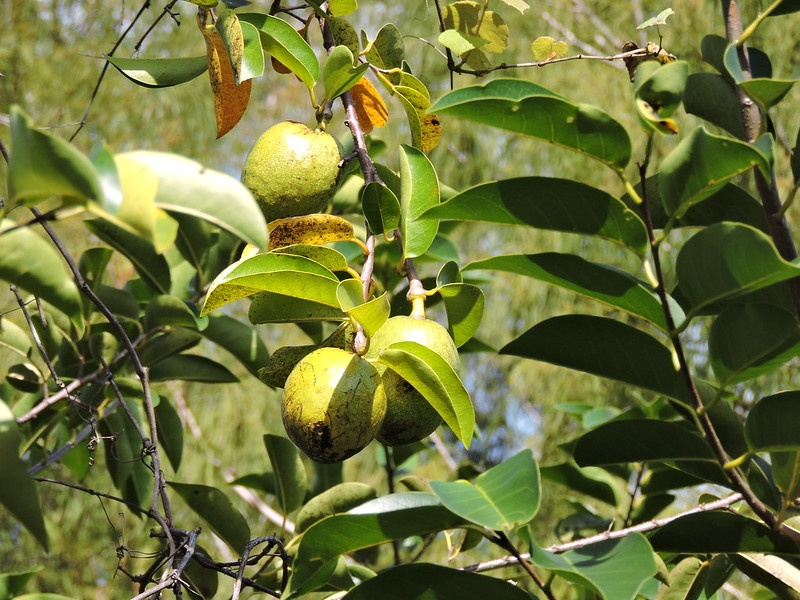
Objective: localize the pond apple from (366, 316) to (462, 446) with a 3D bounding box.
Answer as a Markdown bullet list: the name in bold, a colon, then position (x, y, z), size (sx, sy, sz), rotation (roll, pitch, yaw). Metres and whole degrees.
- **pond apple**: position (0.045, 0.184, 2.383), size (0.206, 0.313, 0.227), rotation (2, -6, 9)
